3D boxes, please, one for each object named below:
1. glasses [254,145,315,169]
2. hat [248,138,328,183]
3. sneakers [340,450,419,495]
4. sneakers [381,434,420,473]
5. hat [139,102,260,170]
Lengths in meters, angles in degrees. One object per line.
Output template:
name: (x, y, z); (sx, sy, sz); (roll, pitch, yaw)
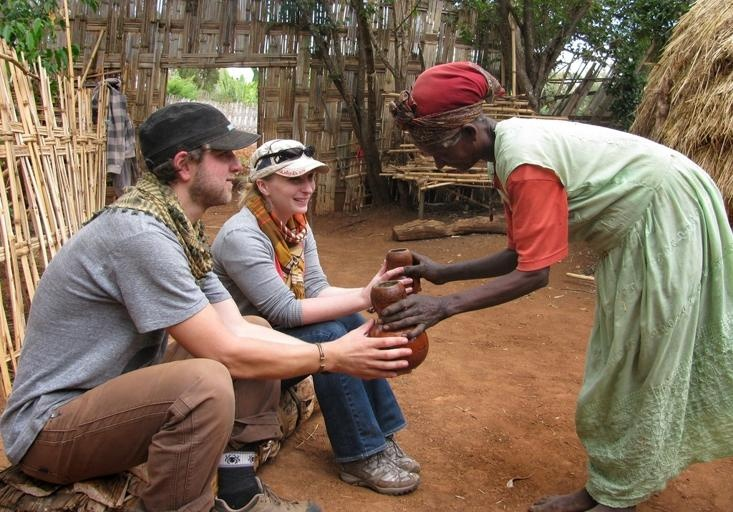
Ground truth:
glasses: (-0.566, -0.618, 3.180); (0.239, 0.067, 0.239); (-17, 3, 38)
hat: (-0.514, -0.641, 3.256); (0.532, 0.234, 0.383); (11, 21, 34)
sneakers: (0.100, 1.279, 3.049); (0.531, 0.271, 0.185); (2, 3, 11)
sneakers: (0.194, 1.208, 3.066); (0.350, 0.205, 0.115); (1, 1, 26)
hat: (-0.861, -0.664, 2.559); (0.611, 0.280, 0.433); (-11, 22, -3)
